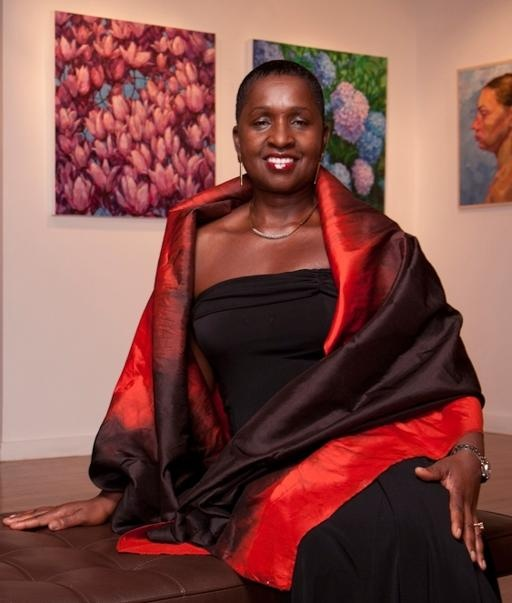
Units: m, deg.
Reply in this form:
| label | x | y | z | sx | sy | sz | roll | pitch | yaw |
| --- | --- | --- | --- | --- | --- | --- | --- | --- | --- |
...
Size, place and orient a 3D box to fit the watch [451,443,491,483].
| label | x | y | z | sx | sy | sz | roll | pitch | yaw |
| --- | --- | --- | --- | --- | --- | --- | --- | --- | --- |
| watch | 0.387 | 0.285 | 1.071 | 0.068 | 0.068 | 0.070 | -1 | -9 | 16 |
